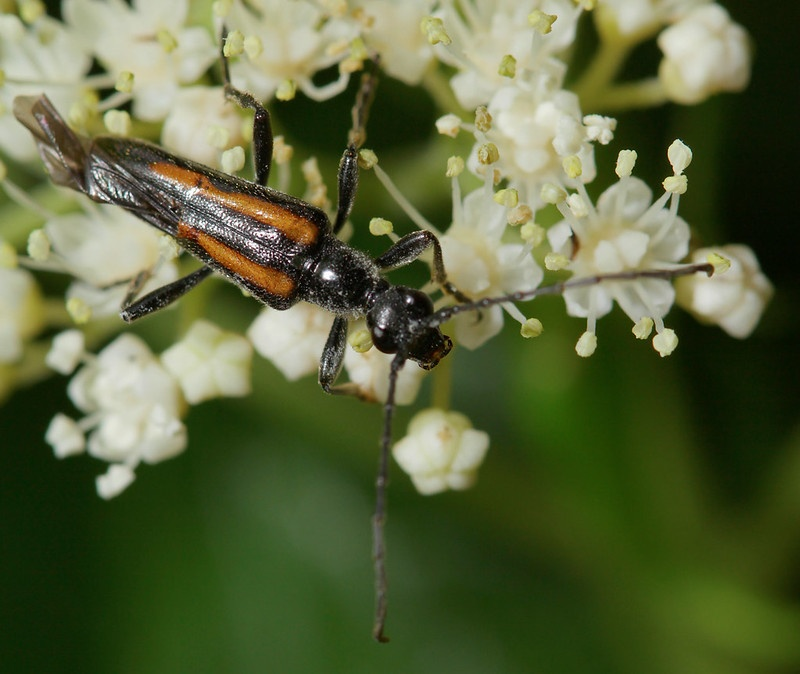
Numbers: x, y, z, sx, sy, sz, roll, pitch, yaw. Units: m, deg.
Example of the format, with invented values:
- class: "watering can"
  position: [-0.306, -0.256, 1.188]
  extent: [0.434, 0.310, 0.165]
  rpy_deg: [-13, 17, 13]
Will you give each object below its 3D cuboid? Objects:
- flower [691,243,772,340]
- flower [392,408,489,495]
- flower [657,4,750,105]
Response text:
- class: "flower"
  position: [1.170, -0.165, 3.161]
  extent: [0.285, 0.140, 0.299]
  rpy_deg: [25, -80, -4]
- class: "flower"
  position: [0.134, 0.382, 3.003]
  extent: [0.274, 0.120, 0.269]
  rpy_deg: [34, -99, 1]
- class: "flower"
  position: [1.041, -0.968, 3.143]
  extent: [0.317, 0.176, 0.352]
  rpy_deg: [-5, -90, -7]
